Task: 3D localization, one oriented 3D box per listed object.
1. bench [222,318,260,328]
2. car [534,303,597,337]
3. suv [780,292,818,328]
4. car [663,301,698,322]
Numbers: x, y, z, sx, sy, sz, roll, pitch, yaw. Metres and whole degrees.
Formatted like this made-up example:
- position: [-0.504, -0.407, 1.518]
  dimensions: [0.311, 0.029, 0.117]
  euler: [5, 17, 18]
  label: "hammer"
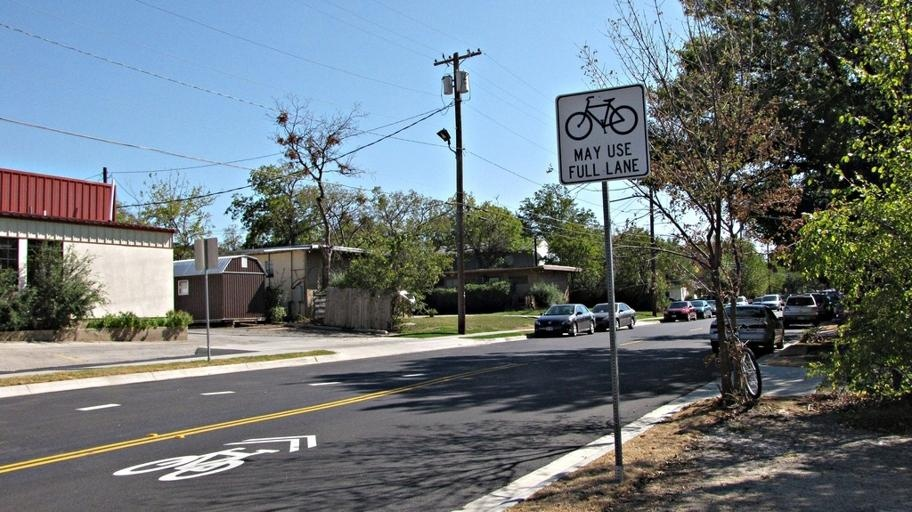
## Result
- position: [-12.444, 3.792, 43.334]
  dimensions: [0.706, 0.574, 2.826]
  euler: [-6, -7, 30]
  label: "bench"
- position: [5.937, 3.452, 40.473]
  dimensions: [1.858, 1.716, 4.209]
  euler: [-6, -8, 34]
  label: "car"
- position: [19.007, 3.007, 41.500]
  dimensions: [1.244, 1.232, 2.807]
  euler: [-1, 1, 21]
  label: "suv"
- position: [16.265, 4.028, 54.184]
  dimensions: [1.247, 0.986, 2.663]
  euler: [-6, -10, 28]
  label: "car"
